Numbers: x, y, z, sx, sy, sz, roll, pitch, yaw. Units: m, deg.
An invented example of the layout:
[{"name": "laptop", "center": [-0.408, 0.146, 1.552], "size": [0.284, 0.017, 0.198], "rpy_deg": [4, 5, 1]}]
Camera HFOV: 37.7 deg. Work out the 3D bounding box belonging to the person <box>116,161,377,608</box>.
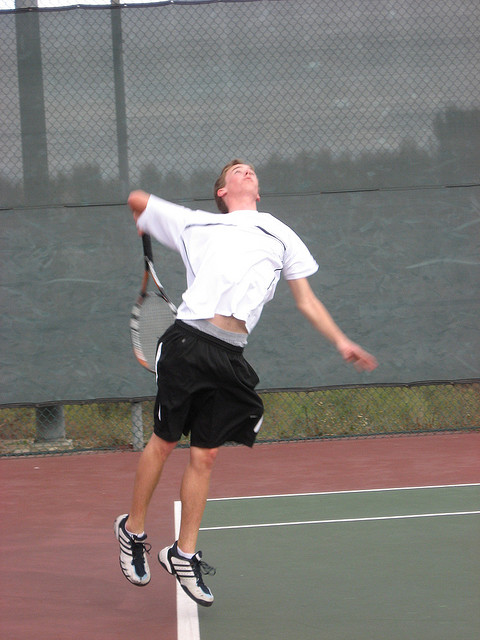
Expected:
[{"name": "person", "center": [-0.064, 0.226, 2.552], "size": [0.815, 1.386, 0.477], "rpy_deg": [-7, 8, -29]}]
